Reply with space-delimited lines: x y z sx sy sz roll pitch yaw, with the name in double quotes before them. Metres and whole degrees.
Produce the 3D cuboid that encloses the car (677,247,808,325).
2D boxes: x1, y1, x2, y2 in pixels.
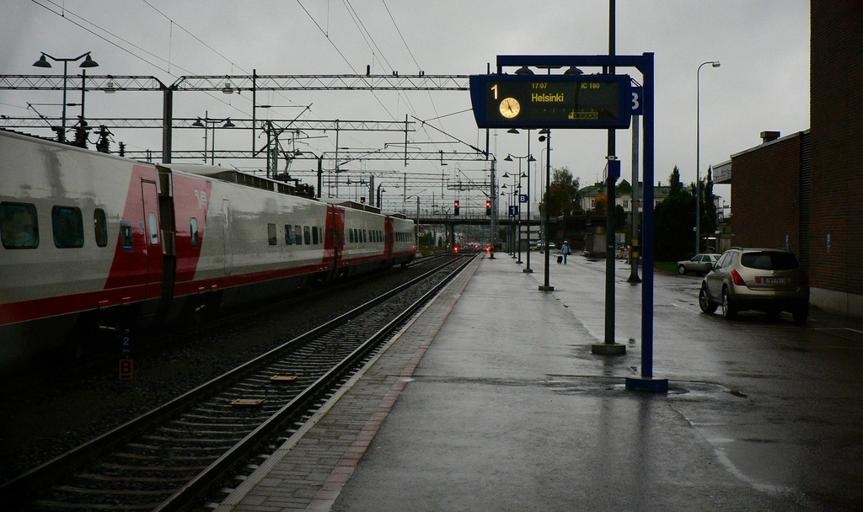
"car" 10.179 0.900 22.734 1.794 2.317 3.056 0 4 -27
